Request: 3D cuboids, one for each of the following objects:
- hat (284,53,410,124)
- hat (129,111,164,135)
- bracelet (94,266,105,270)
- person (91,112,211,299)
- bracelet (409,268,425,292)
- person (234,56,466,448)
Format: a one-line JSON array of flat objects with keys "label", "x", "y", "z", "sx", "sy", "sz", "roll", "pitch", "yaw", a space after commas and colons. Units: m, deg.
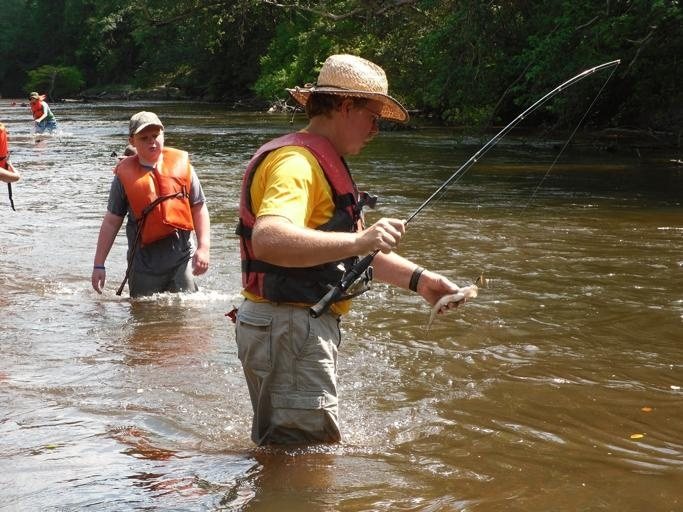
[{"label": "hat", "x": 0.080, "y": -0.880, "z": 3.831, "sx": 0.621, "sy": 0.149, "sz": 0.450, "roll": 5, "pitch": -2, "yaw": 12}, {"label": "hat", "x": -1.726, "y": -1.159, "z": 6.484, "sx": 0.278, "sy": 0.128, "sz": 0.302, "roll": -5, "pitch": -2, "yaw": -21}, {"label": "bracelet", "x": -2.161, "y": 0.100, "z": 6.569, "sx": 0.082, "sy": 0.060, "sz": 0.074, "roll": 4, "pitch": 18, "yaw": -15}, {"label": "person", "x": -1.613, "y": -0.367, "z": 6.604, "sx": 1.032, "sy": 1.808, "sz": 0.805, "roll": 12, "pitch": 21, "yaw": 0}, {"label": "bracelet", "x": 0.403, "y": 0.134, "z": 4.024, "sx": 0.064, "sy": 0.118, "sz": 0.105, "roll": 25, "pitch": 20, "yaw": 6}, {"label": "person", "x": -0.055, "y": 0.038, "z": 3.861, "sx": 1.059, "sy": 2.145, "sz": 0.858, "roll": 10, "pitch": 21, "yaw": -8}]
